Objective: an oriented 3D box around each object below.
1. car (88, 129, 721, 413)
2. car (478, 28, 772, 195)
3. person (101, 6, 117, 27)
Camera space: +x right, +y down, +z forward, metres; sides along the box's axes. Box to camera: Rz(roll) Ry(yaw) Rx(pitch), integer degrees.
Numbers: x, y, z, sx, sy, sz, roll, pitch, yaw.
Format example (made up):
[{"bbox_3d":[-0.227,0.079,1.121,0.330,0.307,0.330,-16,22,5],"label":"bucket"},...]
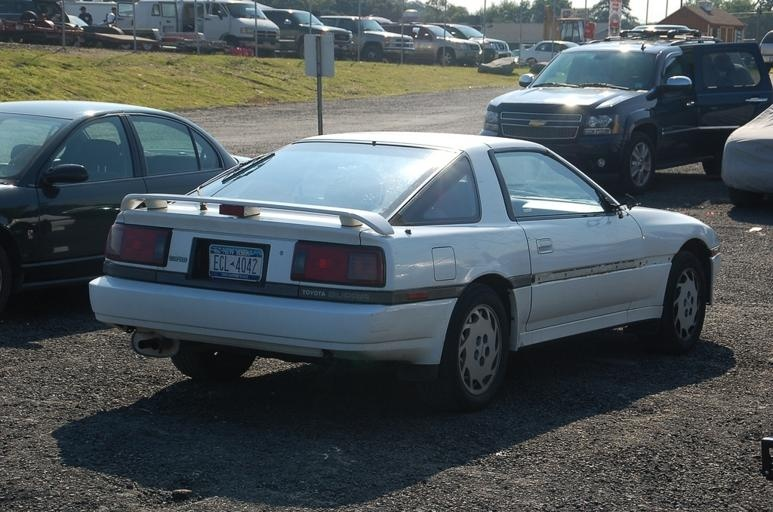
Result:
[{"bbox_3d":[0.598,-0.047,6.196,2.204,1.386,4.219,7,13,44],"label":"car"},{"bbox_3d":[5.020,-3.071,15.451,5.696,2.460,3.069,-4,6,-38],"label":"car"},{"bbox_3d":[-14.416,-12.993,41.310,0.550,1.019,2.182,-4,14,-17],"label":"person"}]
